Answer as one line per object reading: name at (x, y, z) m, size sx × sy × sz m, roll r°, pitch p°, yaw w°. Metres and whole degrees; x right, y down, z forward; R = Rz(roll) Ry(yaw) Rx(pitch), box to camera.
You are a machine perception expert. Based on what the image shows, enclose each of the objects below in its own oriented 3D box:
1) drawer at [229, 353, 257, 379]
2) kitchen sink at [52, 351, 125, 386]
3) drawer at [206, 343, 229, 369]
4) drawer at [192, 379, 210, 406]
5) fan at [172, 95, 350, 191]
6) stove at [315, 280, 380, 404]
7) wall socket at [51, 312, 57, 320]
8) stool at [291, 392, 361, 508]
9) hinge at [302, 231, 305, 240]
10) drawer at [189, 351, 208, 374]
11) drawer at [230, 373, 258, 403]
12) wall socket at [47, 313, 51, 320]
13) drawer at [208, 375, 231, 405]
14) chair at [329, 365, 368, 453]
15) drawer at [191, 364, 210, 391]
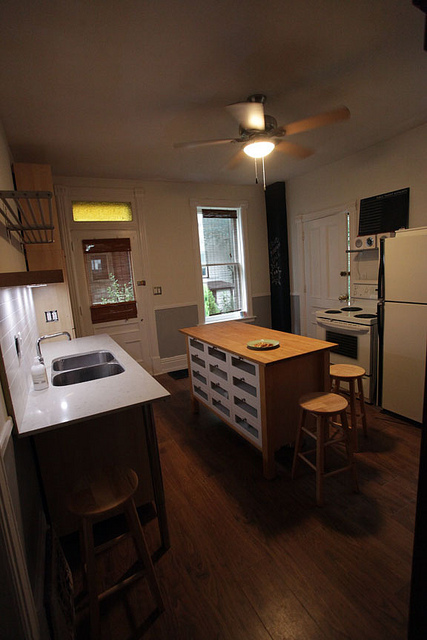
drawer at (0.204, 0.280, 2.718) m, size 0.114 × 0.079 × 0.167 m, roll -4°, pitch 9°, yaw -31°
kitchen sink at (-0.819, 0.321, 2.665) m, size 0.396 × 0.145 × 0.545 m, roll -10°, pitch 13°, yaw -22°
drawer at (0.032, 0.267, 3.104) m, size 0.121 × 0.121 × 0.237 m, roll -4°, pitch 9°, yaw -29°
drawer at (-0.102, 0.607, 3.513) m, size 0.130 × 0.100 × 0.193 m, roll -22°, pitch 26°, yaw -32°
fan at (0.319, -1.235, 2.962) m, size 1.342 × 0.640 × 1.018 m, roll -10°, pitch 10°, yaw -30°
stove at (1.363, 0.146, 3.848) m, size 0.491 × 0.994 × 0.690 m, roll -6°, pitch 9°, yaw -25°
wall socket at (-1.478, -0.039, 3.873) m, size 0.007 × 0.063 × 0.050 m, roll 3°, pitch 14°, yaw 33°
stool at (0.635, 0.721, 2.363) m, size 0.374 × 0.528 × 0.400 m, roll 1°, pitch 4°, yaw 30°
hinge at (1.183, -1.074, 5.330) m, size 0.005 × 0.102 × 0.031 m, roll -8°, pitch 13°, yaw -17°
drawer at (-0.118, 0.355, 3.480) m, size 0.105 × 0.134 × 0.365 m, roll -5°, pitch 11°, yaw -24°
drawer at (0.211, 0.393, 2.708) m, size 0.098 × 0.112 × 0.324 m, roll -5°, pitch 10°, yaw -25°
wall socket at (-1.514, -0.032, 3.827) m, size 0.008 × 0.060 × 0.039 m, roll 3°, pitch 14°, yaw 31°
drawer at (0.054, 0.519, 3.086) m, size 0.112 × 0.142 × 0.378 m, roll -6°, pitch 9°, yaw -24°
chair at (0.922, 0.611, 2.885) m, size 0.284 × 0.504 × 0.300 m, roll 3°, pitch 11°, yaw 32°
drawer at (-0.108, 0.477, 3.496) m, size 0.127 × 0.158 × 0.237 m, roll -4°, pitch 9°, yaw -30°
